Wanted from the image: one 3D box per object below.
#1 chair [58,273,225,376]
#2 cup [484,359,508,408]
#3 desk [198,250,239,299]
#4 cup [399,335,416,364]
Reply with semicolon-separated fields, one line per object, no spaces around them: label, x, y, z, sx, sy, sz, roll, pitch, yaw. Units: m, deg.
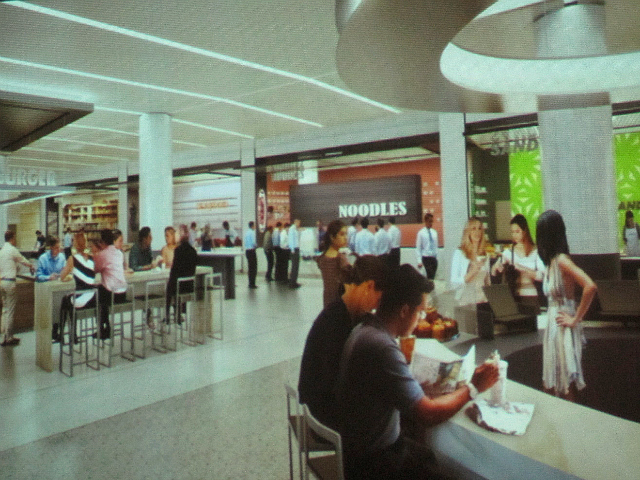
chair;-2.490;1.166;7.715;1.247;0.772;1.785;3;3;44
cup;1.138;0.909;3.704;0.120;0.293;0.110;0;9;0
desk;-1.866;0.638;10.416;0.272;0.519;0.914;-3;4;-38
cup;0.624;0.777;4.113;0.116;0.194;0.265;1;9;10
